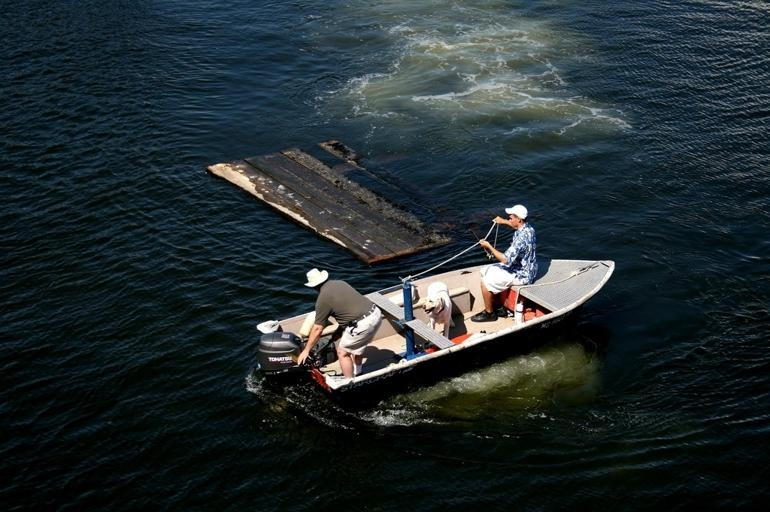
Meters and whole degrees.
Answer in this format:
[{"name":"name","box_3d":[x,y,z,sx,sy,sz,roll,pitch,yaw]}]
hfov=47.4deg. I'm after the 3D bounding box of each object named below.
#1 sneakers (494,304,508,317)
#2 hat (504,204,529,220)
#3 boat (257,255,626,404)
[{"name":"sneakers","box_3d":[3.134,1.476,23.451,0.390,0.138,0.278,-3,82,-2]},{"name":"hat","box_3d":[3.487,-1.145,22.917,0.499,0.481,0.488,-8,61,2]},{"name":"boat","box_3d":[1.360,2.100,22.683,12.160,1.813,2.814,-10,43,-13]}]
